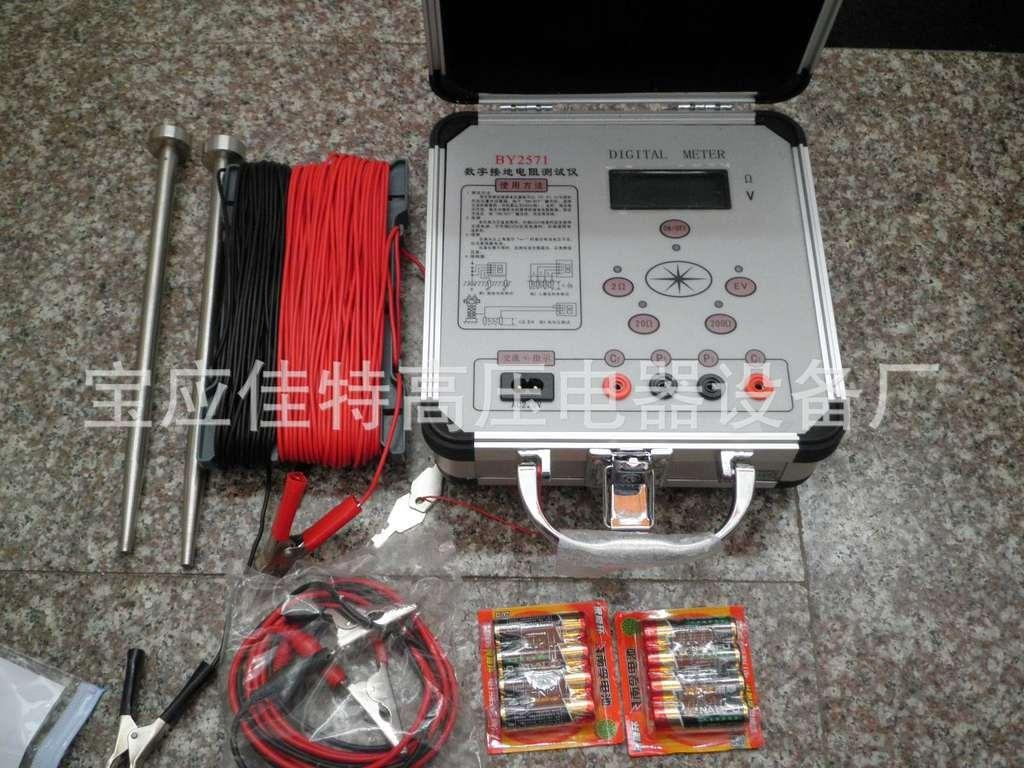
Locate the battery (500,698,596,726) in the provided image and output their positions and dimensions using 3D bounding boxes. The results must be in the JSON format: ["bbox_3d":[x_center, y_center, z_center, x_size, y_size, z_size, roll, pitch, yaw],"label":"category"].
[{"bbox_3d":[0.059,0.562,1.513,0.101,0.032,0.034,-3,106,-4],"label":"battery"}]
